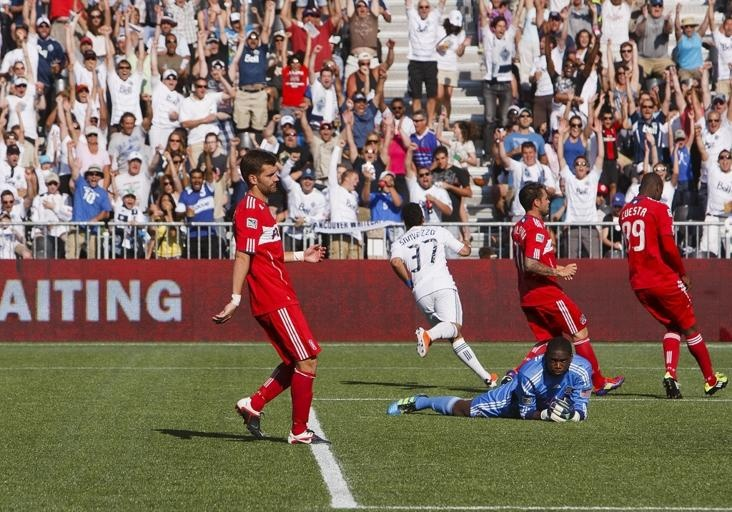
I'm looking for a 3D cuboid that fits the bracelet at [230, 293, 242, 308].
[{"bbox_3d":[-1.865,0.636,26.506,0.149,0.175,0.155,2,3,30],"label":"bracelet"}]

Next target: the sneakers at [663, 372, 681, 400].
[{"bbox_3d":[4.743,2.037,28.718,0.171,0.541,0.246,-15,-11,15],"label":"sneakers"}]

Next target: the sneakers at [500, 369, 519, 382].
[{"bbox_3d":[2.184,1.865,28.223,0.154,0.083,0.288,25,49,29],"label":"sneakers"}]

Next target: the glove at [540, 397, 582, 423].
[{"bbox_3d":[2.864,2.315,27.381,0.321,0.238,0.436,0,4,37],"label":"glove"}]

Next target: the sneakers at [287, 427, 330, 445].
[{"bbox_3d":[-0.824,2.610,26.706,0.609,0.287,0.236,3,-2,-4],"label":"sneakers"}]

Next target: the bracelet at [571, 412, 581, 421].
[{"bbox_3d":[3.115,2.387,27.430,0.098,0.133,0.096,35,-25,-34],"label":"bracelet"}]

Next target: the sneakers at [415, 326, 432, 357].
[{"bbox_3d":[0.877,1.267,28.477,0.213,0.532,0.184,14,-33,-20],"label":"sneakers"}]

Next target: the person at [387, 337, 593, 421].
[{"bbox_3d":[2.178,1.900,27.609,2.036,0.851,1.280,-6,-5,43],"label":"person"}]

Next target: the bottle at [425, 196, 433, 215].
[{"bbox_3d":[1.190,-0.962,34.777,0.115,0.311,0.218,1,4,-5],"label":"bottle"}]

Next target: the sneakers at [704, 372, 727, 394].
[{"bbox_3d":[5.436,2.014,28.816,0.340,0.269,0.262,-2,1,16],"label":"sneakers"}]

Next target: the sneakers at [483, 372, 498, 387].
[{"bbox_3d":[1.982,1.948,29.006,0.109,0.151,0.325,-1,14,19],"label":"sneakers"}]
